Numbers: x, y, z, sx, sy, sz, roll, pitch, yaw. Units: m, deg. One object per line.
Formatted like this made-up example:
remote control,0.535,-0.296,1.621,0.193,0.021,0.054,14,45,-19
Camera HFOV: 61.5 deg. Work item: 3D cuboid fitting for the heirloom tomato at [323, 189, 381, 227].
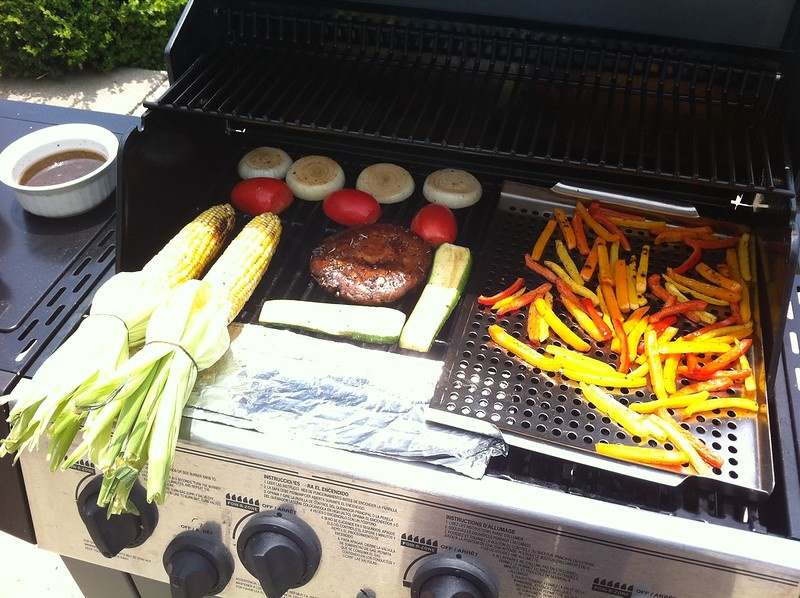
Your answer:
heirloom tomato,-0.153,-0.281,2.132,0.150,0.109,0.088,4,-30,7

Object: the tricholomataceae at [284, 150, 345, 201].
tricholomataceae,-0.271,-0.397,2.176,0.152,0.151,0.164,17,36,28

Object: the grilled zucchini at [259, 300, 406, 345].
grilled zucchini,-0.179,0.063,1.822,0.387,0.134,0.057,6,-49,10

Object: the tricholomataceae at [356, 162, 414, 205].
tricholomataceae,-0.042,-0.386,2.195,0.181,0.125,0.147,-25,36,-37

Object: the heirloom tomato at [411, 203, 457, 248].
heirloom tomato,0.111,-0.227,2.050,0.110,0.133,0.074,-10,-35,-8
